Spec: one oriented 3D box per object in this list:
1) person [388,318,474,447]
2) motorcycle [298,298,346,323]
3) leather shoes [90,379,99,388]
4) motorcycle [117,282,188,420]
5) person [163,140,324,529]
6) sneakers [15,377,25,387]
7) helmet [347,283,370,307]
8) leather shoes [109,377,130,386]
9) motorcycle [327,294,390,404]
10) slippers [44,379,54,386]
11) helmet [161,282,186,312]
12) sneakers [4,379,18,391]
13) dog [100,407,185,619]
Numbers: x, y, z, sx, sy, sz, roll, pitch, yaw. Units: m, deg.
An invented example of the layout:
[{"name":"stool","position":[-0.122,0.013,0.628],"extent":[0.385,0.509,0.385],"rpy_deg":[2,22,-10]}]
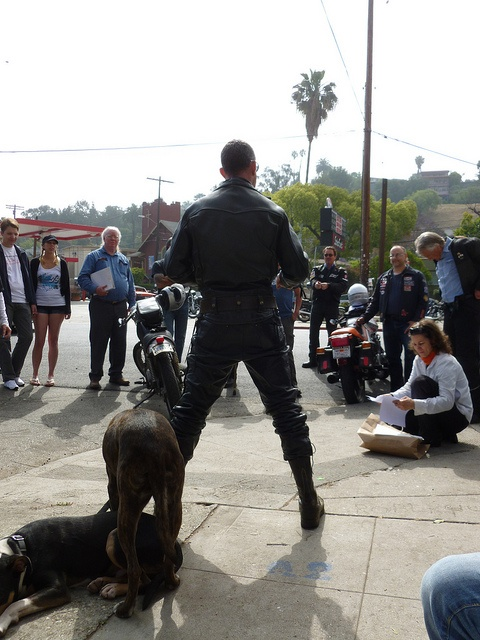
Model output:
[{"name":"person","position":[1.468,0.479,4.319],"extent":[0.533,0.932,0.567],"rpy_deg":[0,3,21]},{"name":"motorcycle","position":[3.224,-0.306,21.615],"extent":[2.010,1.159,1.097],"rpy_deg":[2,-1,0]},{"name":"leather shoes","position":[-1.682,0.759,6.580],"extent":[0.127,0.093,0.167],"rpy_deg":[-2,2,-14]},{"name":"motorcycle","position":[-0.773,0.270,5.616],"extent":[0.683,1.077,1.915],"rpy_deg":[-15,10,-13]},{"name":"person","position":[-0.004,0.040,2.867],"extent":[0.736,1.954,0.421],"rpy_deg":[-1,3,-2]},{"name":"sneakers","position":[-2.537,0.721,6.526],"extent":[0.116,0.124,0.306],"rpy_deg":[0,-4,-21]},{"name":"helmet","position":[1.583,-0.320,7.567],"extent":[0.259,0.303,0.315],"rpy_deg":[3,13,17]},{"name":"leather shoes","position":[-1.451,0.750,6.851],"extent":[0.274,0.108,0.092],"rpy_deg":[0,4,6]},{"name":"motorcycle","position":[1.522,0.238,7.204],"extent":[0.676,1.381,2.104],"rpy_deg":[-6,3,22]},{"name":"slippers","position":[-2.241,0.744,6.675],"extent":[0.052,0.059,0.138],"rpy_deg":[2,-4,-8]},{"name":"helmet","position":[-0.586,-0.173,4.798],"extent":[0.200,0.097,0.272],"rpy_deg":[-9,-20,-34]},{"name":"sneakers","position":[-2.547,0.737,6.332],"extent":[0.148,0.112,0.155],"rpy_deg":[-2,3,-23]},{"name":"dog","position":[-0.387,0.732,2.295],"extent":[0.305,0.702,0.456],"rpy_deg":[-2,3,-14]}]
